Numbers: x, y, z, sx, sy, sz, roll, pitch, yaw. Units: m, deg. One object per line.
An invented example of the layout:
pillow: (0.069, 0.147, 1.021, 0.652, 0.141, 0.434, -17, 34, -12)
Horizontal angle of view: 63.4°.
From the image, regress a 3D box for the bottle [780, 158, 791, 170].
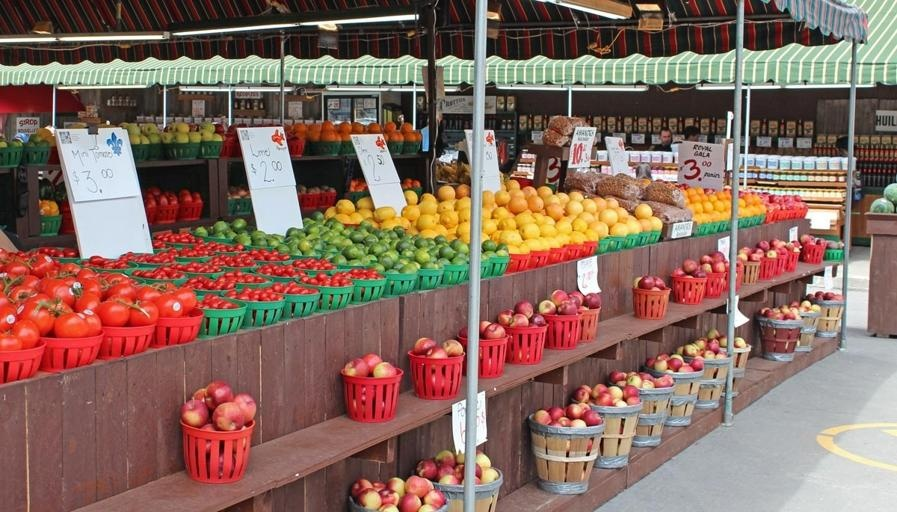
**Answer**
bottle: (6.733, -1.877, 14.602, 0.220, 0.221, 0.222, 1, 4, 24)

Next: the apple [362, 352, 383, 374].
apple: (-0.440, 0.616, 4.212, 0.102, 0.101, 0.102, 3, -13, 4)

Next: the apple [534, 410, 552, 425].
apple: (0.671, 1.155, 5.198, 0.128, 0.064, 0.161, -5, 14, -7)

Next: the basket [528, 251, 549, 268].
basket: (0.662, 0.019, 5.370, 0.124, 0.083, 0.127, 0, 2, 16)

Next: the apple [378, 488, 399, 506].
apple: (-0.349, 1.412, 4.260, 0.086, 0.088, 0.087, -4, -16, -13)

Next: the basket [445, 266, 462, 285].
basket: (0.028, 0.122, 4.748, 0.120, 0.088, 0.122, 1, 3, 37)

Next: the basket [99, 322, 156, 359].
basket: (-1.599, 0.428, 3.544, 0.303, 0.145, 0.303, -4, -4, -9)

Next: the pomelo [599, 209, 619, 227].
pomelo: (1.324, -0.325, 6.034, 0.126, 0.145, 0.136, -27, -17, 27)

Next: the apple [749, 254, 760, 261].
apple: (3.106, 0.020, 7.424, 0.087, 0.075, 0.073, 16, -32, -15)

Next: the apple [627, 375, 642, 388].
apple: (1.453, 0.970, 5.702, 0.098, 0.100, 0.099, -10, -7, 33)

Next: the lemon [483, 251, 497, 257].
lemon: (0.275, -0.018, 4.993, 0.053, 0.033, 0.042, -8, 5, 23)

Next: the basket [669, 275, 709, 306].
basket: (2.114, 0.281, 6.429, 0.266, 0.190, 0.271, -1, 8, 0)

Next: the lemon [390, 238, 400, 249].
lemon: (-0.361, -0.091, 4.848, 0.058, 0.071, 0.059, -3, 17, -18)

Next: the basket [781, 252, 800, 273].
basket: (3.759, 0.064, 8.028, 0.222, 0.175, 0.227, 5, 10, 32)

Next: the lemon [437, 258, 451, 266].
lemon: (-0.035, 0.040, 4.737, 0.095, 0.040, 0.111, -3, 14, 2)

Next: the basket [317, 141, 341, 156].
basket: (-1.132, -1.048, 6.943, 0.158, 0.082, 0.157, -12, 15, -38)

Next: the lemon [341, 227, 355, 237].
lemon: (-0.695, -0.170, 5.057, 0.067, 0.051, 0.086, -12, 16, -23)

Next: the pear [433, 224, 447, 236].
pear: (-0.066, -0.200, 5.474, 0.081, 0.083, 0.096, 2, 29, -5)

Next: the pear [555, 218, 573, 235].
pear: (0.904, -0.245, 5.789, 0.096, 0.095, 0.127, -20, 0, 44)

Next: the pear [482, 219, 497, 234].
pear: (0.312, -0.226, 5.458, 0.093, 0.096, 0.130, 2, 9, 43)

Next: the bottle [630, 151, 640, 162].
bottle: (3.889, -2.104, 15.241, 0.209, 0.206, 0.212, 5, 7, 42)

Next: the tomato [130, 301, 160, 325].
tomato: (-1.452, 0.275, 3.459, 0.104, 0.106, 0.100, -39, -13, 32)

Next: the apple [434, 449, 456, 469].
apple: (-0.026, 1.280, 4.641, 0.118, 0.098, 0.099, -14, -35, 28)

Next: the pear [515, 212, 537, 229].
pear: (0.593, -0.280, 5.611, 0.138, 0.110, 0.104, 3, 15, -4)

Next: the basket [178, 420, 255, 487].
basket: (-1.124, 0.959, 3.563, 0.278, 0.202, 0.311, 3, 4, 18)

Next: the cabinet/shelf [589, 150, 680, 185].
cabinet/shelf: (3.913, -2.062, 15.421, 1.484, 0.993, 0.818, 0, -5, -5)

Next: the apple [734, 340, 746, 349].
apple: (2.827, 0.844, 7.072, 0.088, 0.086, 0.090, -17, 20, 41)

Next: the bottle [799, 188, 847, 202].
bottle: (7.308, -1.200, 14.335, 0.833, 0.288, 0.262, 2, 14, 19)

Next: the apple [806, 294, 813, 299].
apple: (4.206, 0.466, 8.500, 0.055, 0.054, 0.056, -1, 5, -2)

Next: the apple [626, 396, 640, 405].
apple: (1.390, 1.090, 5.506, 0.096, 0.045, 0.108, 2, 15, 19)

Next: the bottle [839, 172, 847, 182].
bottle: (7.665, -1.556, 14.222, 0.106, 0.187, 0.190, 1, 14, 18)

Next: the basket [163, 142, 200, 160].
basket: (-2.213, -0.886, 6.064, 0.277, 0.141, 0.139, -9, 15, -24)

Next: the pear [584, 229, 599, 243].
pear: (1.130, -0.169, 5.777, 0.080, 0.083, 0.107, -5, 14, -14)

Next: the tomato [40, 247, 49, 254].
tomato: (-2.470, -0.037, 4.421, 0.063, 0.030, 0.051, -5, 10, -11)

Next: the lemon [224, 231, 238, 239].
lemon: (-1.498, -0.151, 5.022, 0.072, 0.061, 0.060, 17, -31, 0)

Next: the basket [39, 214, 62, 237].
basket: (-2.981, -0.242, 5.467, 0.122, 0.103, 0.137, 1, 0, 7)

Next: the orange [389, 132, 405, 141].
orange: (-0.540, -1.208, 7.306, 0.102, 0.100, 0.101, -1, -3, 9)

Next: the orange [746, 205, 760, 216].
orange: (3.229, -0.494, 7.749, 0.136, 0.052, 0.138, -6, 9, -16)

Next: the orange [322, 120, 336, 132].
orange: (-1.136, -1.263, 6.931, 0.095, 0.102, 0.105, 14, -27, 14)

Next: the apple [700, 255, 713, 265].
apple: (2.423, 0.026, 6.866, 0.077, 0.077, 0.080, 2, 26, 21)

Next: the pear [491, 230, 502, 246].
pear: (0.343, -0.144, 5.315, 0.078, 0.072, 0.078, 26, 63, 31)

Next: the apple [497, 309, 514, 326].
apple: (0.382, 0.410, 4.937, 0.094, 0.098, 0.091, -4, 8, 10)

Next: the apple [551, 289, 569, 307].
apple: (0.802, 0.298, 5.287, 0.103, 0.111, 0.100, 0, -2, 18)

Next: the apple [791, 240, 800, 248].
apple: (3.932, -0.144, 8.275, 0.117, 0.087, 0.154, 1, 9, 10)

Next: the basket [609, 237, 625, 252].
basket: (1.399, -0.104, 6.072, 0.113, 0.085, 0.113, 0, 2, -19)

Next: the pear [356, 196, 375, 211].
pear: (-0.694, -0.434, 6.033, 0.137, 0.106, 0.101, 10, -16, -32)

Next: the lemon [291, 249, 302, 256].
lemon: (-0.996, -0.020, 4.754, 0.058, 0.045, 0.047, 1, 31, -4)

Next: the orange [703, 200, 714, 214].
orange: (2.584, -0.507, 7.246, 0.100, 0.064, 0.170, 0, 8, 31)

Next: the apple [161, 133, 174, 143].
apple: (-2.311, -0.978, 5.990, 0.110, 0.085, 0.068, -5, 13, -7)

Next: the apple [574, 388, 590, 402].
apple: (1.005, 1.036, 5.525, 0.097, 0.096, 0.100, -10, 11, -3)

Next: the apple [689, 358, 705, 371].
apple: (2.165, 0.944, 6.404, 0.101, 0.106, 0.123, 2, -32, -16)

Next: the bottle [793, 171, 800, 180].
bottle: (6.958, -1.609, 14.576, 0.126, 0.130, 0.080, 3, 6, 16)
